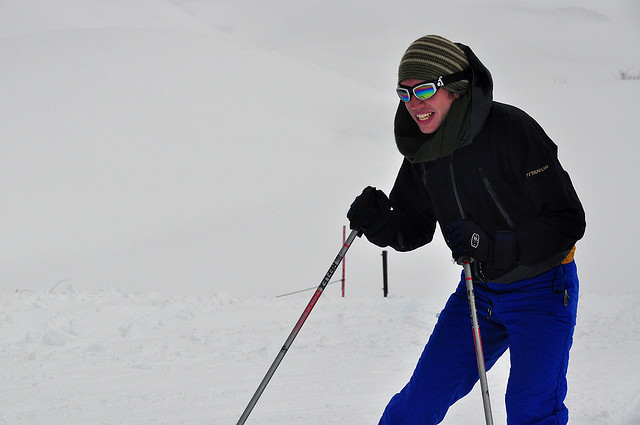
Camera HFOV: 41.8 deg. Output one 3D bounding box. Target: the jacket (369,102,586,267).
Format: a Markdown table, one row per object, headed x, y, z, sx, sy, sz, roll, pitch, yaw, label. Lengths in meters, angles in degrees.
| x | y | z | sx | sy | sz | roll | pitch | yaw | label |
| --- | --- | --- | --- | --- | --- | --- | --- | --- | --- |
| 1.903 | -0.294 | 9.682 | 2.132 | 1.884 | 0.506 | -5 | -12 | 20 | jacket |
